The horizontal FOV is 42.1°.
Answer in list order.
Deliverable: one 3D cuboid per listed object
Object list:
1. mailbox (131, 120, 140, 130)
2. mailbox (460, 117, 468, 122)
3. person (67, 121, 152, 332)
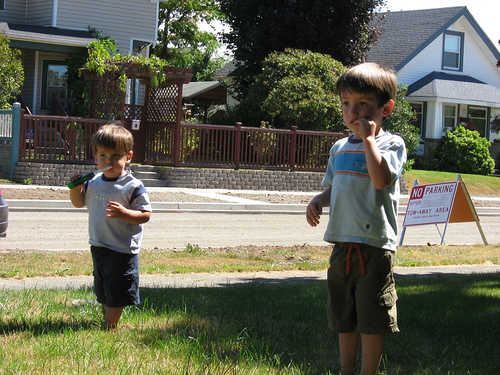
[{"bbox_3d":[-3.902,-2.138,22.064,0.223,0.272,0.251,1,5,2],"label":"mailbox"},{"bbox_3d":[12.203,-3.864,36.904,0.186,0.239,0.785,10,7,43],"label":"mailbox"},{"bbox_3d":[-1.265,0.352,5.906,0.745,1.852,0.422,7,6,30],"label":"person"}]
